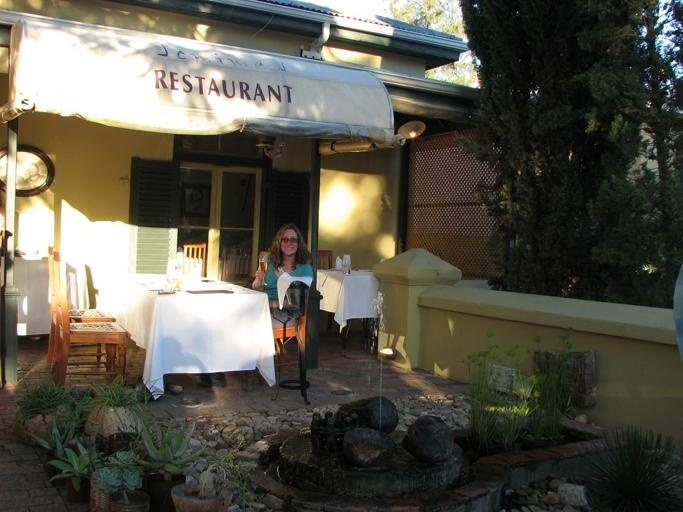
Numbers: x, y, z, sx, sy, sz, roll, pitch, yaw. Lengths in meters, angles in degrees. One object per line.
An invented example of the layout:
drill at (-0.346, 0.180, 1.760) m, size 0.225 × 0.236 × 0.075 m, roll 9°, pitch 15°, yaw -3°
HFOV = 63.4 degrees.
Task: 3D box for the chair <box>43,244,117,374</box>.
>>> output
chair at (-3.188, 0.669, 6.740) m, size 0.583 × 1.243 × 1.285 m, roll -1°, pitch 7°, yaw -25°

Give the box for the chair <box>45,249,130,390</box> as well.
chair at (-2.983, 0.769, 6.482) m, size 0.580 × 1.126 × 1.281 m, roll -1°, pitch 5°, yaw -25°

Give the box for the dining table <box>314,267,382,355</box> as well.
dining table at (0.143, 0.640, 8.513) m, size 0.890 × 0.788 × 1.557 m, roll 2°, pitch 2°, yaw -14°

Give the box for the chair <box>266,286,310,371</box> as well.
chair at (-0.666, 0.762, 6.082) m, size 0.645 × 1.037 × 0.667 m, roll 1°, pitch 1°, yaw -10°

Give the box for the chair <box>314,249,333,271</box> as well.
chair at (-0.284, 0.053, 9.658) m, size 0.257 × 0.478 × 0.296 m, roll 1°, pitch -1°, yaw -2°

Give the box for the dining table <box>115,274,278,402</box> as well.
dining table at (-1.568, 0.875, 6.074) m, size 1.467 × 1.125 × 1.137 m, roll 1°, pitch -1°, yaw -23°
